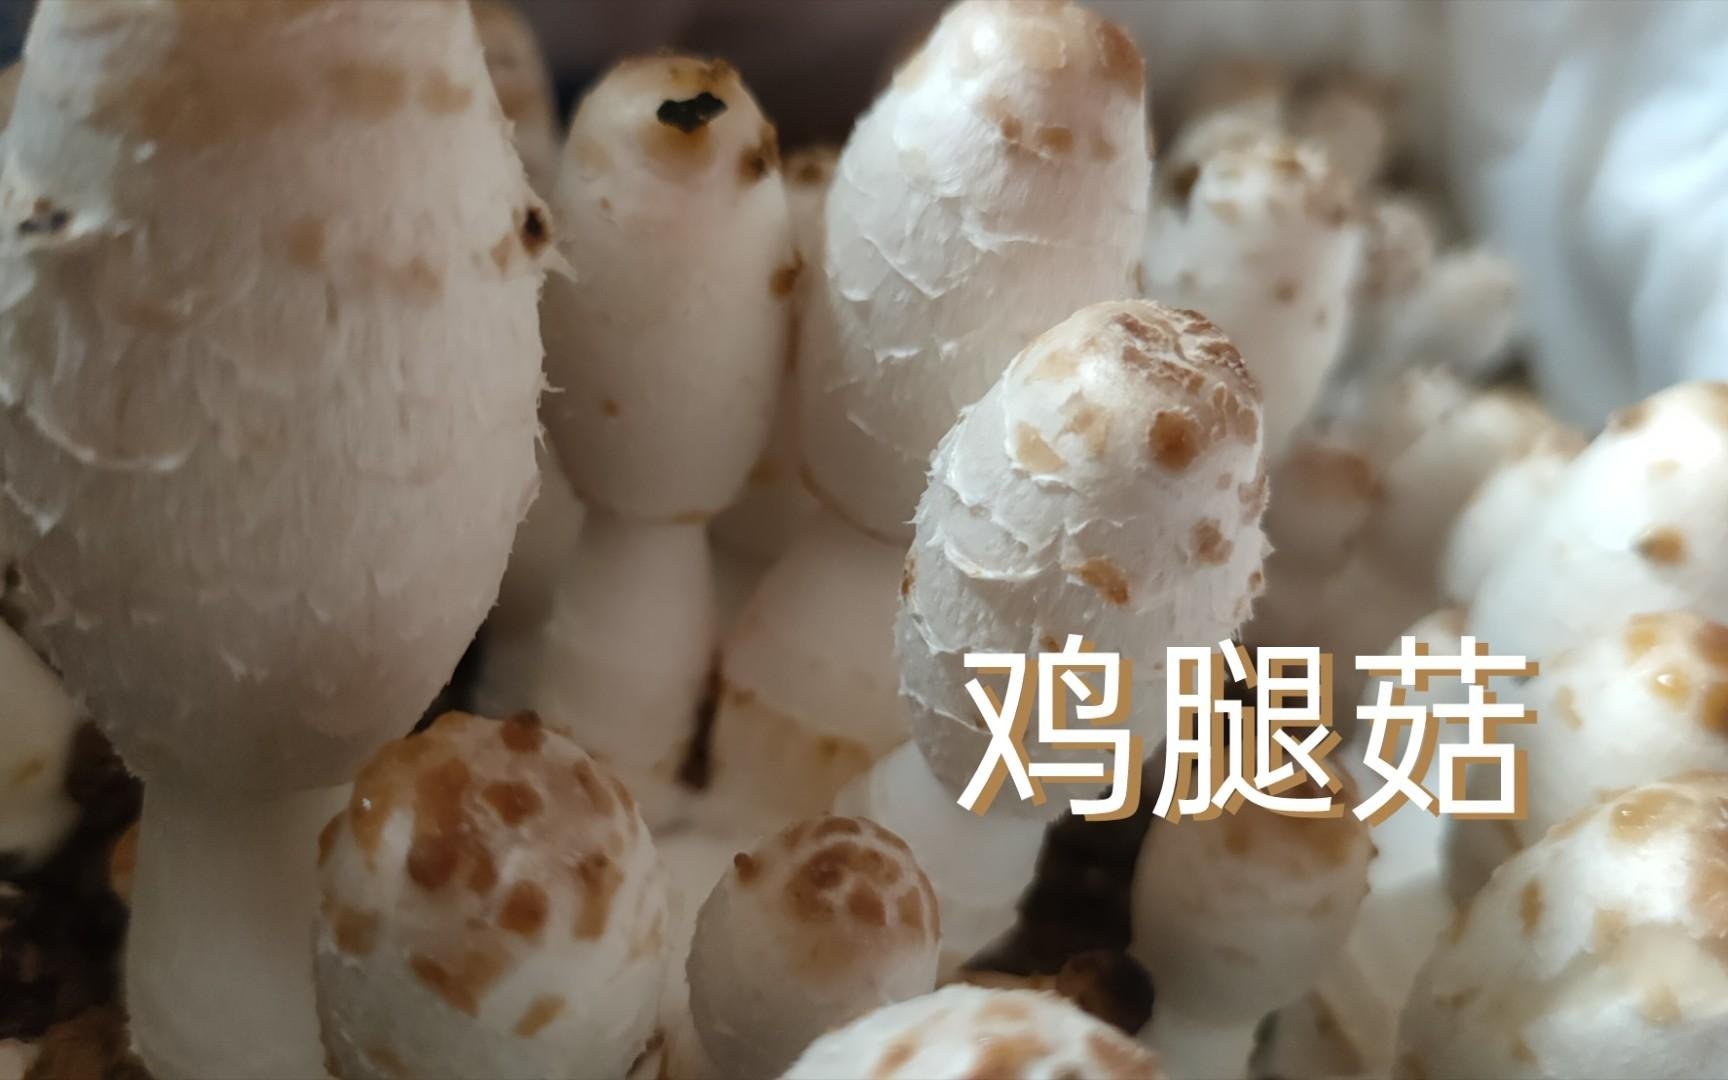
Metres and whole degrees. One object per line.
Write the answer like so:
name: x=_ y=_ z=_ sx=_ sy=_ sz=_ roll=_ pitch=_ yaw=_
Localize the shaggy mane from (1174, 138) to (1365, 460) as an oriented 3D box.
shaggy mane: x=0.388 y=-0.250 z=1.803 sx=0.141 sy=0.346 sz=0.165 roll=4 pitch=2 yaw=-9
